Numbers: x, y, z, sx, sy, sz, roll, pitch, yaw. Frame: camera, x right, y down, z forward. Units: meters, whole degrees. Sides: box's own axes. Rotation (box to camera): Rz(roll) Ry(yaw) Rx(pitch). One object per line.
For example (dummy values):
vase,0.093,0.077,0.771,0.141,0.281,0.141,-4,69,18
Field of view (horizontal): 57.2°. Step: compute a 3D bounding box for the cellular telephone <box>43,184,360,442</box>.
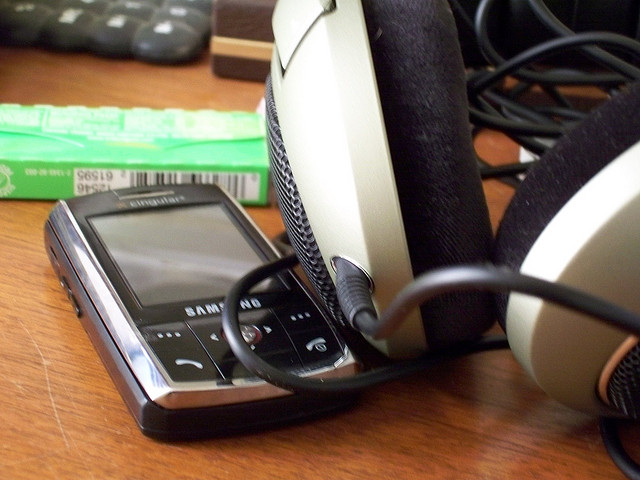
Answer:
cellular telephone,-0.097,0.043,0.448,0.165,0.060,0.271,-8,35,-37
